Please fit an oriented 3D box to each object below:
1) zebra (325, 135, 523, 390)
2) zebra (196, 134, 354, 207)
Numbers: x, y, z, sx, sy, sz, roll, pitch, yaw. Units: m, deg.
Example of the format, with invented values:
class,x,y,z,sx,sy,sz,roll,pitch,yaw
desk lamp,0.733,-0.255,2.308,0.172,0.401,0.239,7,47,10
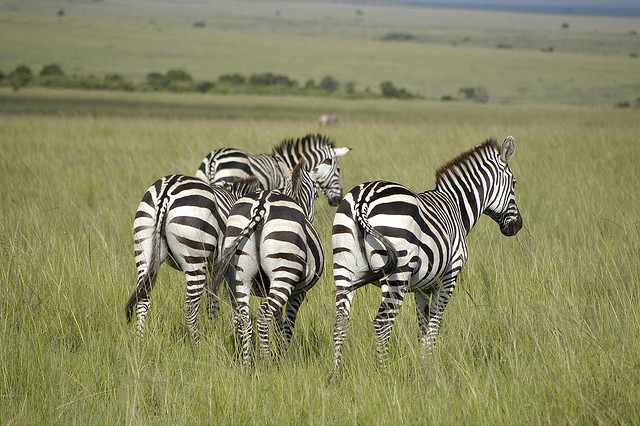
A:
class,x,y,z,sx,sy,sz,roll,pitch,yaw
zebra,2.790,1.599,21.358,6.117,2.010,6.182,-1,91,-41
zebra,-1.282,-0.790,24.481,4.747,1.508,3.250,-2,77,-35
